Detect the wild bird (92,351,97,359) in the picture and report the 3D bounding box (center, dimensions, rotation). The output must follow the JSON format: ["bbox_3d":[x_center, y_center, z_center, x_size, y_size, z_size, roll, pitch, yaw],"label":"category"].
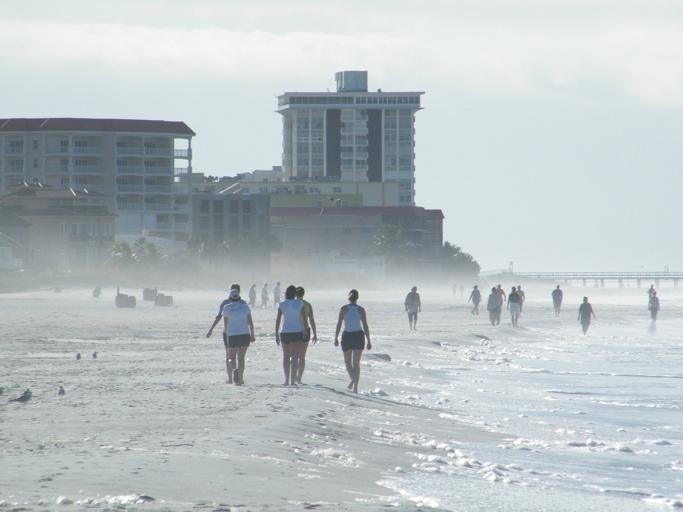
[{"bbox_3d":[-5.934,2.377,32.488,0.137,0.120,0.198,1,1,-5],"label":"wild bird"}]

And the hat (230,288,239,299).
[{"bbox_3d":[-2.091,0.757,26.813,0.158,0.208,0.214,6,-13,-16],"label":"hat"}]

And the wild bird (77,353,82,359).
[{"bbox_3d":[-6.252,2.370,32.222,0.119,0.158,0.088,-1,-31,-6],"label":"wild bird"}]
